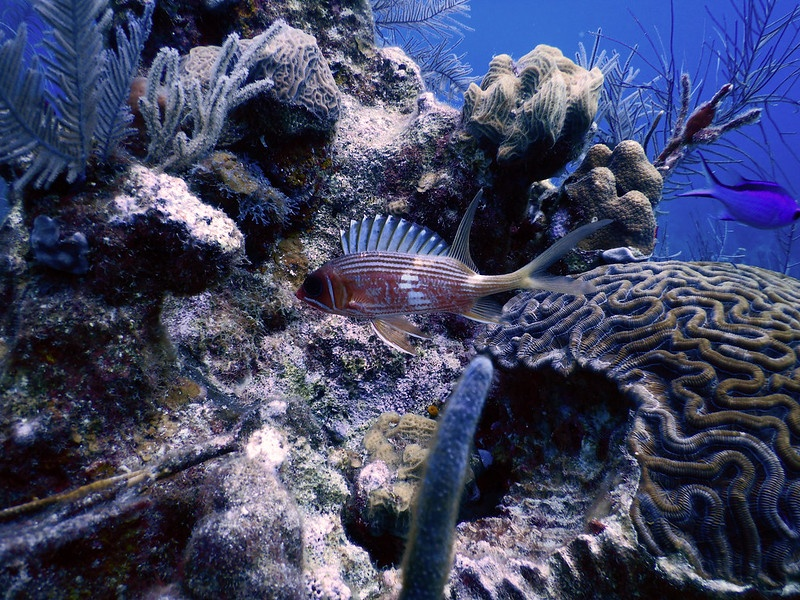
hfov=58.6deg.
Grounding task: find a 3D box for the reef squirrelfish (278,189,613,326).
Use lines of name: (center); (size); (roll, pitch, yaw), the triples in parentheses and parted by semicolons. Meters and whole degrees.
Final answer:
reef squirrelfish: (0.394, -0.262, 6.296); (2.644, 0.572, 1.408); (-2, 58, -2)
